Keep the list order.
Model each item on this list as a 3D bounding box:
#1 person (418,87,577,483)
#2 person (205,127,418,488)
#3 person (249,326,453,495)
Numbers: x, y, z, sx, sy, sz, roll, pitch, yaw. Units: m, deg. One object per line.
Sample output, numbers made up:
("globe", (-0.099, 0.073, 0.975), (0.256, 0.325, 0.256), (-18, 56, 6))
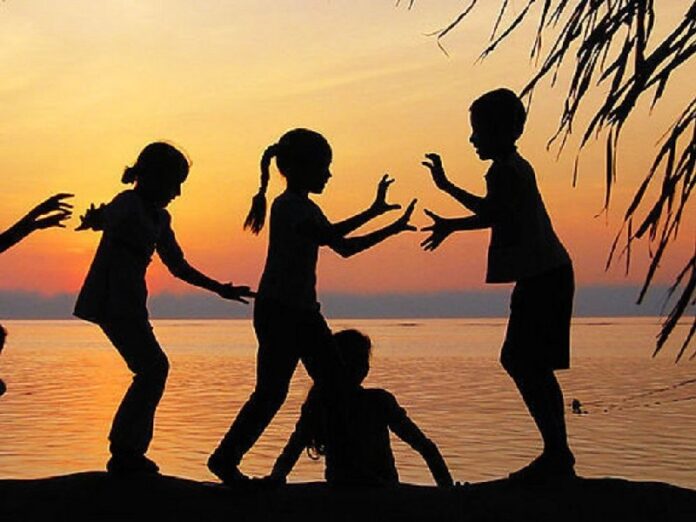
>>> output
("person", (1.150, 0.105, 8.437), (0.809, 2.527, 1.214), (-6, 18, -31))
("person", (-0.322, 0.361, 8.399), (1.097, 2.485, 1.235), (3, 15, 1))
("person", (0.028, 1.257, 10.269), (1.723, 2.004, 0.510), (-3, -25, 10))
